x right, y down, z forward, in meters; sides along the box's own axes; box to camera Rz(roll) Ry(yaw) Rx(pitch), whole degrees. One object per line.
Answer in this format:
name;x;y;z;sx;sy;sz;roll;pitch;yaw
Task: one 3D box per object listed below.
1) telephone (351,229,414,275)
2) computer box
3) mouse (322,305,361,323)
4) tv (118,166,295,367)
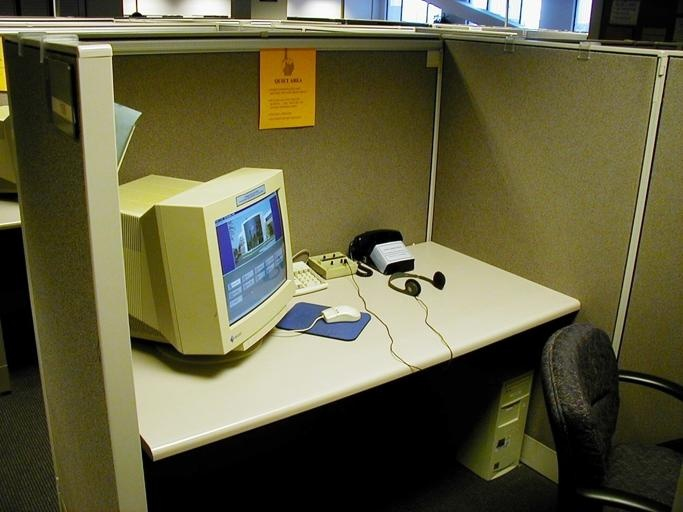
telephone;0.156;-0.050;1.946;0.176;0.090;0.175;-10;37;-39
computer box;0.551;0.590;2.000;0.188;0.389;0.209;-12;22;-41
mouse;0.004;0.164;1.580;0.083;0.025;0.054;-1;22;-11
tv;-0.363;0.000;1.515;0.464;0.442;0.408;18;26;20
